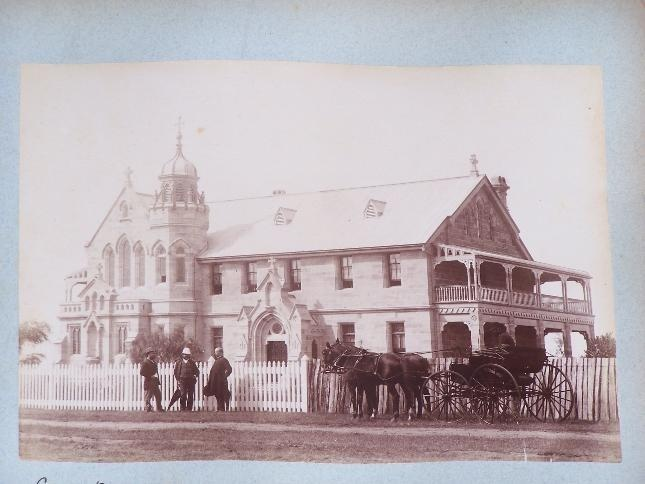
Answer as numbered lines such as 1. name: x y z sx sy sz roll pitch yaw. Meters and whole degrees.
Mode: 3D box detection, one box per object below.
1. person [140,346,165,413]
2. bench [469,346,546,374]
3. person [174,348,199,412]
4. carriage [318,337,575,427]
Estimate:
1. person: -4.974 4.030 29.022 0.642 1.664 0.202 2 -12 -8
2. bench: 4.931 3.119 26.483 1.909 0.735 0.469 -2 -12 9
3. person: -3.937 3.924 28.820 0.647 1.769 0.254 3 -12 -15
4. carriage: 3.193 3.753 27.832 7.077 2.352 2.342 -1 -10 23
